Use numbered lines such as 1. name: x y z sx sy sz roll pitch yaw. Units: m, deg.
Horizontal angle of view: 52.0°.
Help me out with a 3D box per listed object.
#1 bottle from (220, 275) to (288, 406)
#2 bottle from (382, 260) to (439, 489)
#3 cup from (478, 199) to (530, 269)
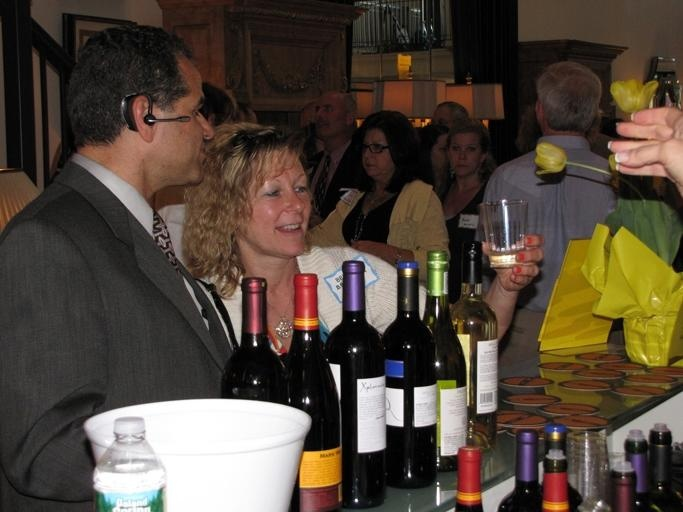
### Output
1. bottle: -0.172 0.160 1.343 0.124 0.247 0.244 -3 2 -10
2. bottle: 0.137 0.293 1.422 0.106 0.367 0.053 -2 2 5
3. cup: 0.435 -0.058 2.003 0.179 0.228 0.162 -1 0 -1
